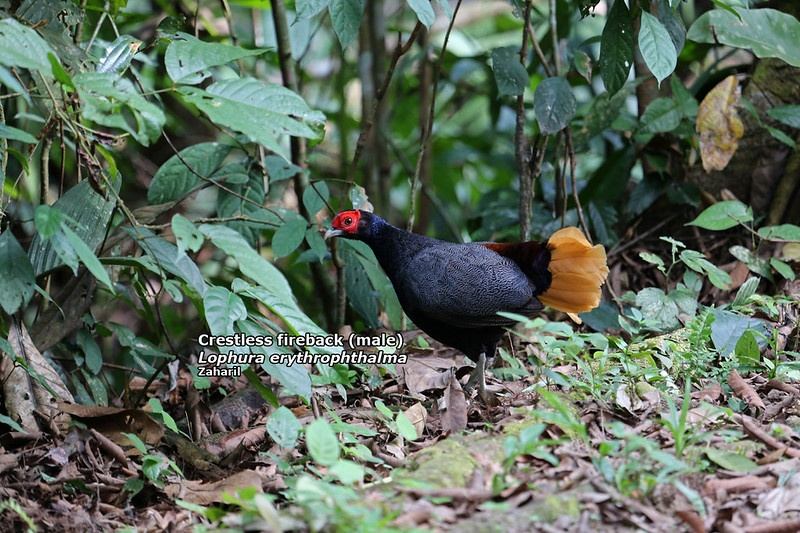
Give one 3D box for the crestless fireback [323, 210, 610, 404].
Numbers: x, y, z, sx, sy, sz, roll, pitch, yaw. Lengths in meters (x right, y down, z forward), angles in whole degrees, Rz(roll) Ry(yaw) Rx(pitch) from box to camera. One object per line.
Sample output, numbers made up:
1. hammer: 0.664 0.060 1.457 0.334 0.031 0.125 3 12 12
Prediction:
1. crestless fireback: 0.415 0.301 4.739 1.234 0.890 0.492 -1 -5 9
